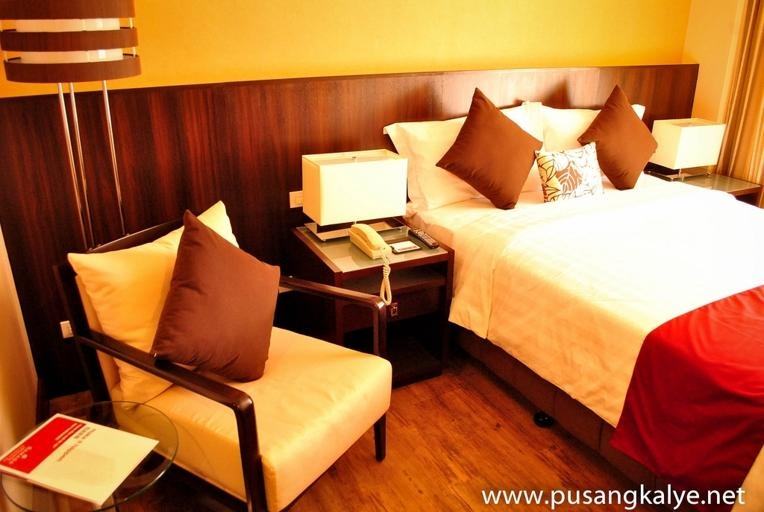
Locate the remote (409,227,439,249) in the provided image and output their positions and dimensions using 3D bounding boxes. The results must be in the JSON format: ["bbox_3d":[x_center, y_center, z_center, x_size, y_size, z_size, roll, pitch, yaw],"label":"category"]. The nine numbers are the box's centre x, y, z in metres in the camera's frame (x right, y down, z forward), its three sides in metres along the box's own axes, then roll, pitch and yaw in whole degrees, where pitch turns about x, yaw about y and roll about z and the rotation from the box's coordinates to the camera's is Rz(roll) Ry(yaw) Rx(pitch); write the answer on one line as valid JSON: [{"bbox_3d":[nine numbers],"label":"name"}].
[{"bbox_3d":[0.235,-0.120,2.970,0.066,0.059,0.225,-6,28,-26],"label":"remote"}]

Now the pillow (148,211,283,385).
[{"bbox_3d":[-0.666,0.192,2.117,0.353,0.689,0.500,0,26,10],"label":"pillow"}]

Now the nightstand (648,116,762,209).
[{"bbox_3d":[2.396,-0.698,3.855,0.561,0.541,0.530,-16,33,-24],"label":"nightstand"}]

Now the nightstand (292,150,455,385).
[{"bbox_3d":[-0.084,0.064,3.068,0.683,1.201,0.828,-10,26,-23],"label":"nightstand"}]

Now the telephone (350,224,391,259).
[{"bbox_3d":[-0.072,-0.080,2.875,0.115,0.102,0.293,-17,39,-26],"label":"telephone"}]

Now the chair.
[{"bbox_3d":[-0.618,0.369,2.464,1.288,1.176,1.028,18,27,27],"label":"chair"}]
